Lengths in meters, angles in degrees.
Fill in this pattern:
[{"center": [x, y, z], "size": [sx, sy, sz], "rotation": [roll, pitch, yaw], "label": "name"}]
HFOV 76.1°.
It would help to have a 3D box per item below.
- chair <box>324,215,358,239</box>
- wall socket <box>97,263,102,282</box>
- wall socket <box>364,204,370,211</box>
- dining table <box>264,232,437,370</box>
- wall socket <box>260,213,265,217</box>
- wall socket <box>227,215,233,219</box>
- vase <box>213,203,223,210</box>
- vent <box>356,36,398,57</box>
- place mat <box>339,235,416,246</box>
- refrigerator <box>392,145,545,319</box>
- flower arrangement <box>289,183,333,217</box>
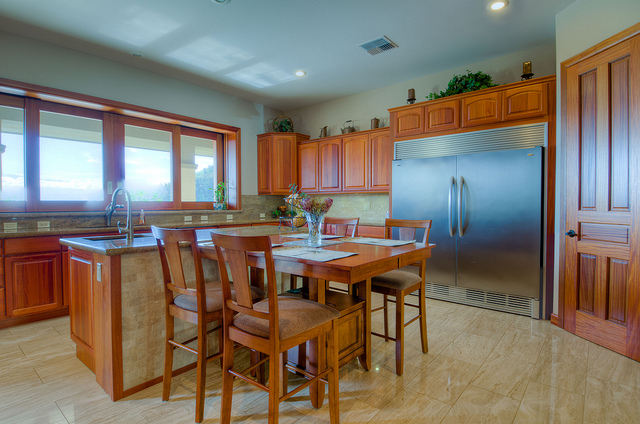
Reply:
[{"center": [0.303, 0.203, 5.220], "size": [0.299, 0.474, 0.330], "rotation": [-3, -6, 34], "label": "chair"}, {"center": [-2.098, 0.585, 3.918], "size": [0.076, 0.169, 0.016], "rotation": [0, 6, 39], "label": "wall socket"}, {"center": [0.833, -0.075, 7.139], "size": [0.119, 0.115, 0.010], "rotation": [-4, -7, 41], "label": "wall socket"}, {"center": [0.383, 0.698, 4.237], "size": [1.511, 0.902, 1.521], "rotation": [1, 3, 40], "label": "dining table"}, {"center": [-1.056, 0.070, 7.644], "size": [0.089, 0.059, 0.048], "rotation": [-2, 5, -42], "label": "wall socket"}, {"center": [-1.558, 0.099, 7.164], "size": [0.046, 0.057, 0.084], "rotation": [-1, 0, 34], "label": "wall socket"}, {"center": [-1.747, -0.082, 7.114], "size": [0.127, 0.087, 0.099], "rotation": [-4, -3, 42], "label": "vase"}, {"center": [0.788, -2.252, 5.558], "size": [0.423, 0.103, 0.380], "rotation": [-1, 4, 39], "label": "vent"}, {"center": [0.609, 0.323, 4.539], "size": [0.787, 0.062, 0.441], "rotation": [-2, 3, 31], "label": "place mat"}, {"center": [2.006, 0.313, 5.282], "size": [2.394, 2.671, 1.183], "rotation": [-1, -2, 33], "label": "refrigerator"}, {"center": [-0.083, -0.071, 4.364], "size": [0.399, 0.249, 0.228], "rotation": [-2, 4, 19], "label": "flower arrangement"}]
